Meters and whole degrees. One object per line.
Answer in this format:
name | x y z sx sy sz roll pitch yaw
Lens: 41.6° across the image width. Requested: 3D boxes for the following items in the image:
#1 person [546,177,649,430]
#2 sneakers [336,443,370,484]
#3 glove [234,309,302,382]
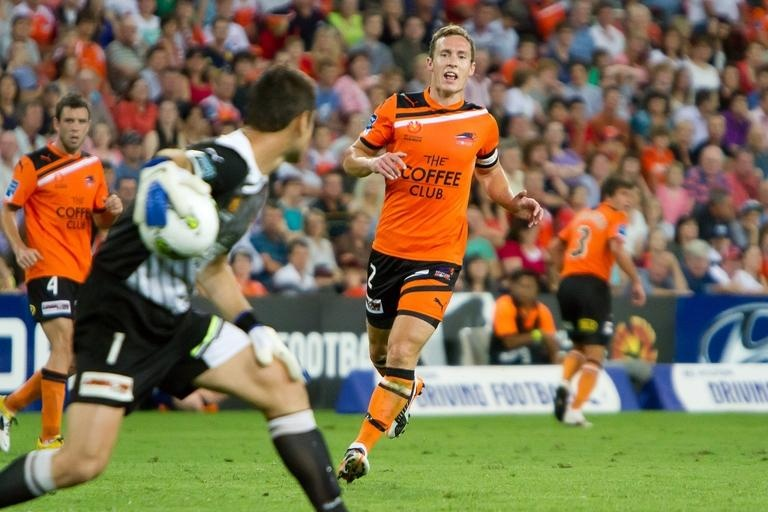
person | 2.628 0.546 12.768 1.069 3.128 0.573 2 -1 9
sneakers | -0.288 1.895 9.344 0.172 0.223 0.479 7 -30 -12
glove | -0.897 0.721 7.944 0.182 0.598 0.374 -39 13 -35
